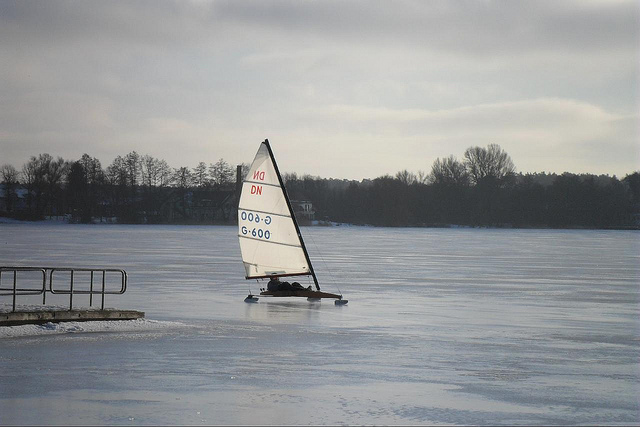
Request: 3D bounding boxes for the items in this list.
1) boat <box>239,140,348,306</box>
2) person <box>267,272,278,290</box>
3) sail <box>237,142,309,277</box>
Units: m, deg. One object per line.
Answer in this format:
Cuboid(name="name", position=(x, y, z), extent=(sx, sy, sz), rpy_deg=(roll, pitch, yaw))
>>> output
Cuboid(name="boat", position=(-1.787, 0.410, 49.896), extent=(4.364, 7.898, 6.833), rpy_deg=(0, 5, -8))
Cuboid(name="person", position=(-2.198, 3.190, 48.882), extent=(0.730, 0.690, 0.179), rpy_deg=(0, -24, 45))
Cuboid(name="sail", position=(-2.384, -0.061, 49.242), extent=(3.956, 6.593, 1.170), rpy_deg=(-1, 13, 25))
